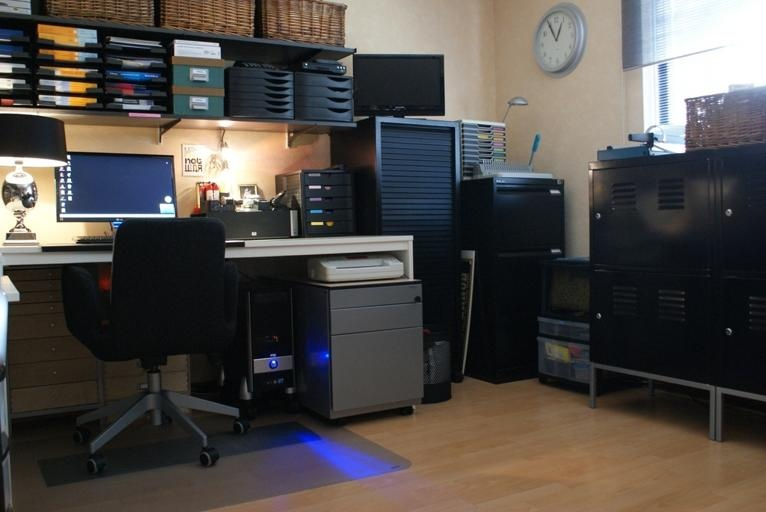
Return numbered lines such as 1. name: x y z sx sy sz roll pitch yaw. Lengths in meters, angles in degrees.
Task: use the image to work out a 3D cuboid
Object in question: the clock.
1. clock: 1.316 -1.606 4.525 0.098 0.532 0.426 -8 12 -33
